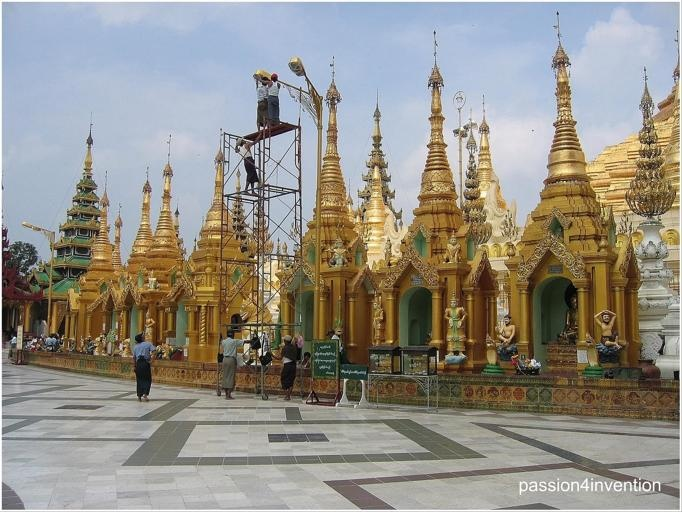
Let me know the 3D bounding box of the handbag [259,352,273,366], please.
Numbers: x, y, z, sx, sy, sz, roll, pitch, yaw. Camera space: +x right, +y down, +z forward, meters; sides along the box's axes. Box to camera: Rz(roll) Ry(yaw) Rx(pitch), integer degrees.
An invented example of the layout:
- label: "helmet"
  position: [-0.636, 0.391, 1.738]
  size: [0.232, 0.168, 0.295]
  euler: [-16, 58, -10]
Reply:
- label: "handbag"
  position: [-1.887, 2.565, 25.166]
  size: [0.211, 0.353, 0.507]
  euler: [-3, -9, 16]

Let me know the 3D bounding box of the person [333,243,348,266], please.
- label: "person"
  position: [-0.032, -0.023, 27.991]
  size: [0.367, 0.696, 0.712]
  euler: [-2, -9, 12]

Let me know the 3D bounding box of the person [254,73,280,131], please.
- label: "person"
  position: [-1.993, -4.199, 27.307]
  size: [0.700, 1.493, 1.203]
  euler: [0, -9, -3]

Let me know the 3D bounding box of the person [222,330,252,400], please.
- label: "person"
  position: [-2.690, 2.648, 24.807]
  size: [0.458, 1.723, 1.224]
  euler: [1, -10, -6]

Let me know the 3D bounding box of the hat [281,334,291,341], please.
- label: "hat"
  position: [-1.312, 1.957, 23.950]
  size: [0.271, 0.133, 0.200]
  euler: [-2, -3, 43]

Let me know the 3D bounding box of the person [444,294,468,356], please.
- label: "person"
  position: [2.890, 1.698, 25.080]
  size: [0.494, 1.553, 0.736]
  euler: [-1, -10, 5]

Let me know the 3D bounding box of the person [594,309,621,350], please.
- label: "person"
  position: [6.185, 1.701, 23.184]
  size: [0.555, 0.946, 0.950]
  euler: [-3, -10, 15]

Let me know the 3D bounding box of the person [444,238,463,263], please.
- label: "person"
  position: [2.900, -0.145, 25.793]
  size: [0.380, 0.704, 0.478]
  euler: [-1, -10, 5]

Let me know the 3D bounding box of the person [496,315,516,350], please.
- label: "person"
  position: [4.067, 1.853, 24.501]
  size: [0.452, 0.871, 0.665]
  euler: [-2, -10, 9]
